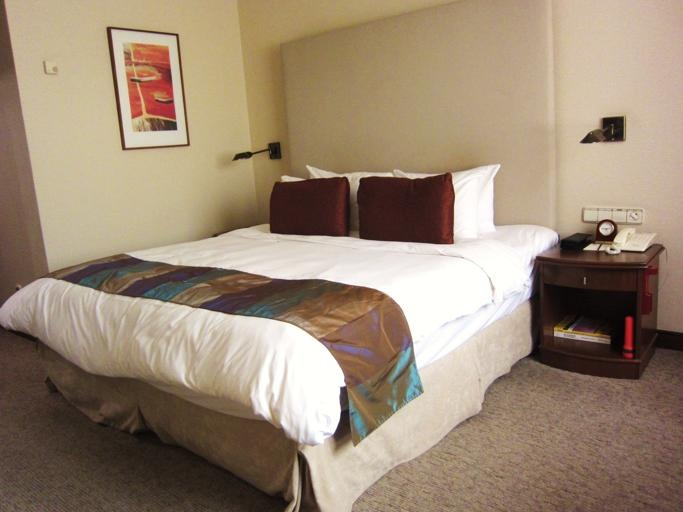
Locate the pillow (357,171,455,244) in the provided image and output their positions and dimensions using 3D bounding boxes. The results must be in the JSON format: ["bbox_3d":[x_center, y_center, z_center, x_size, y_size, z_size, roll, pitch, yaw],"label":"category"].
[{"bbox_3d":[0.445,-0.318,3.647,0.758,0.492,0.238,8,19,37],"label":"pillow"}]

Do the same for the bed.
[{"bbox_3d":[0.094,0.455,2.868,1.893,0.554,1.873,8,18,39],"label":"bed"}]

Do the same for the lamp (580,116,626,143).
[{"bbox_3d":[1.748,-0.833,3.527,0.292,0.170,0.209,4,25,15],"label":"lamp"}]

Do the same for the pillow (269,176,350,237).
[{"bbox_3d":[-0.265,-0.371,4.089,0.732,0.457,0.208,5,5,29],"label":"pillow"}]

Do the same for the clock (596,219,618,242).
[{"bbox_3d":[1.747,-0.166,3.471,0.146,0.209,0.027,4,1,34],"label":"clock"}]

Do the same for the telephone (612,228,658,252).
[{"bbox_3d":[1.847,-0.099,3.326,0.169,0.088,0.235,8,20,40],"label":"telephone"}]

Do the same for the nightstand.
[{"bbox_3d":[1.682,0.302,3.501,0.703,0.724,0.692,4,17,36],"label":"nightstand"}]

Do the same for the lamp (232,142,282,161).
[{"bbox_3d":[-0.830,-1.010,5.091,0.464,0.171,0.347,-7,16,-15],"label":"lamp"}]
